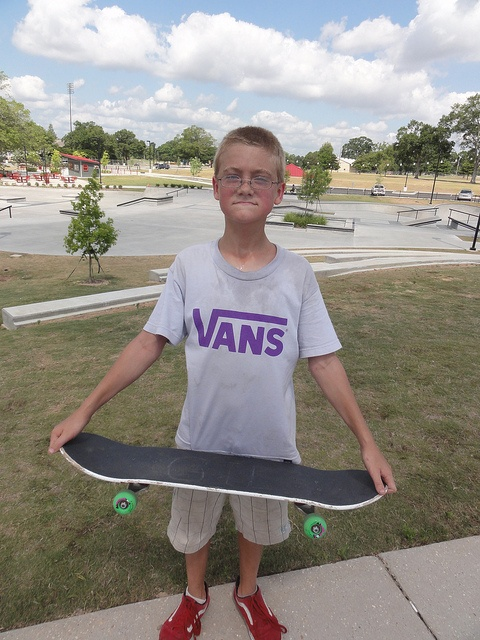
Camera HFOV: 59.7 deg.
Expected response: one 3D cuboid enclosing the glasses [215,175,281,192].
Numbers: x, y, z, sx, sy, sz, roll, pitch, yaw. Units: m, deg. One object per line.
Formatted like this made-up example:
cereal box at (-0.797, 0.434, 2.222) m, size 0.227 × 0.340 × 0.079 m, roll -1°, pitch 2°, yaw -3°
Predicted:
glasses at (0.031, -0.486, 1.487) m, size 0.196 × 0.051 × 0.045 m, roll 4°, pitch 8°, yaw -7°
